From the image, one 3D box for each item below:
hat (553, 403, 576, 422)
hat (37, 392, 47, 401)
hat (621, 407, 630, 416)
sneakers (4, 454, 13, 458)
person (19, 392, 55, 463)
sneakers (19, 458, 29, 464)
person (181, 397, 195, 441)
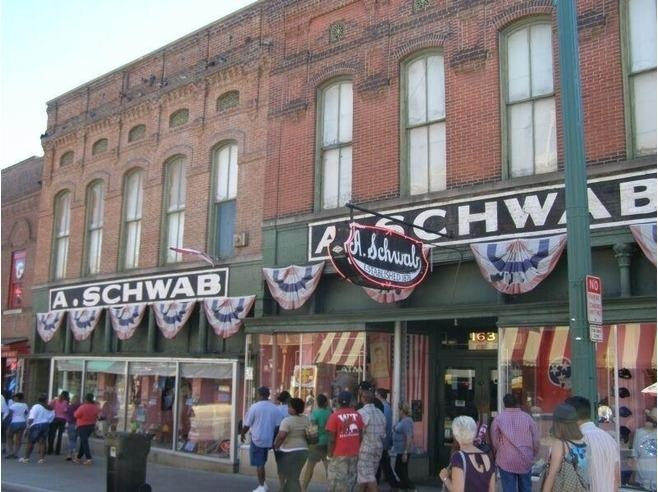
[{"bbox_3d":[3.425,2.380,10.795,0.241,0.162,0.244,6,-11,-31],"label":"hat"},{"bbox_3d":[-7.982,4.179,20.914,0.267,0.178,0.365,0,-3,1],"label":"hat"},{"bbox_3d":[5.751,3.199,14.540,0.137,0.132,0.161,16,-29,-27],"label":"hat"},{"bbox_3d":[-8.956,5.810,20.845,0.192,0.108,0.432,11,-19,-30],"label":"sneakers"},{"bbox_3d":[-8.108,5.051,20.855,0.757,1.787,1.326,7,-16,-21],"label":"person"},{"bbox_3d":[-8.405,5.828,20.563,0.176,0.146,0.457,7,-17,-30],"label":"sneakers"},{"bbox_3d":[-3.908,4.688,20.487,0.133,1.131,0.480,13,-19,-39],"label":"person"}]
